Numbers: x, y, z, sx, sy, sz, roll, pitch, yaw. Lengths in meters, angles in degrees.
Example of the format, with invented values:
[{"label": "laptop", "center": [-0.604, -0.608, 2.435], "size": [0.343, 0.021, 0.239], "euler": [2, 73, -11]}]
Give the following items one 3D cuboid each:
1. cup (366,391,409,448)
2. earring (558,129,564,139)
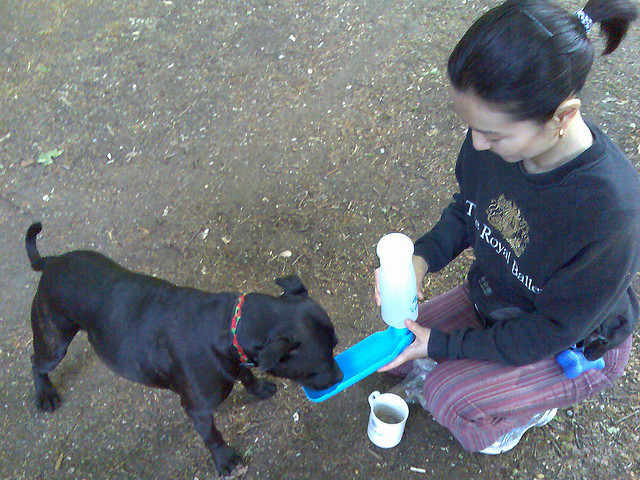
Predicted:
[{"label": "cup", "center": [0.451, 1.255, 4.224], "size": [0.281, 0.300, 0.401], "euler": [-2, 52, -2]}, {"label": "earring", "center": [1.329, -0.589, 3.274], "size": [0.011, 0.043, 0.029], "euler": [0, 28, -34]}]
